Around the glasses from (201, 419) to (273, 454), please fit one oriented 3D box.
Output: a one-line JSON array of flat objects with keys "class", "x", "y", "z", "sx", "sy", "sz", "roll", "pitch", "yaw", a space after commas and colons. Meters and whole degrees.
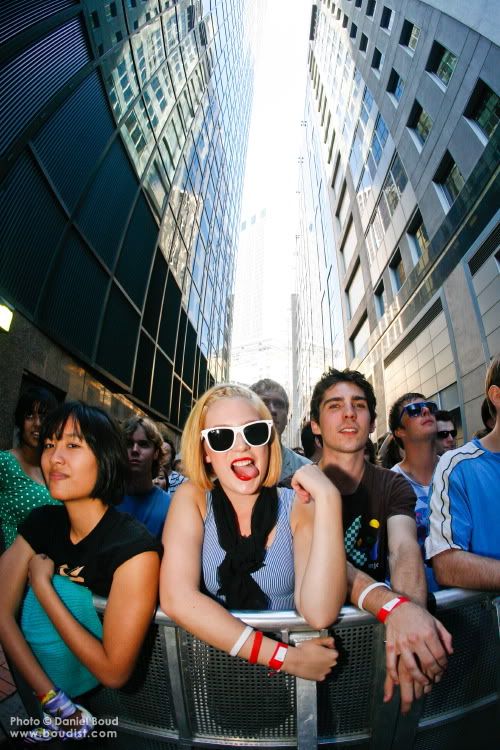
[{"class": "glasses", "x": -0.046, "y": 0.263, "z": 1.741, "sx": 0.178, "sy": 0.069, "sz": 0.180, "roll": -9, "pitch": -35, "yaw": -11}]
